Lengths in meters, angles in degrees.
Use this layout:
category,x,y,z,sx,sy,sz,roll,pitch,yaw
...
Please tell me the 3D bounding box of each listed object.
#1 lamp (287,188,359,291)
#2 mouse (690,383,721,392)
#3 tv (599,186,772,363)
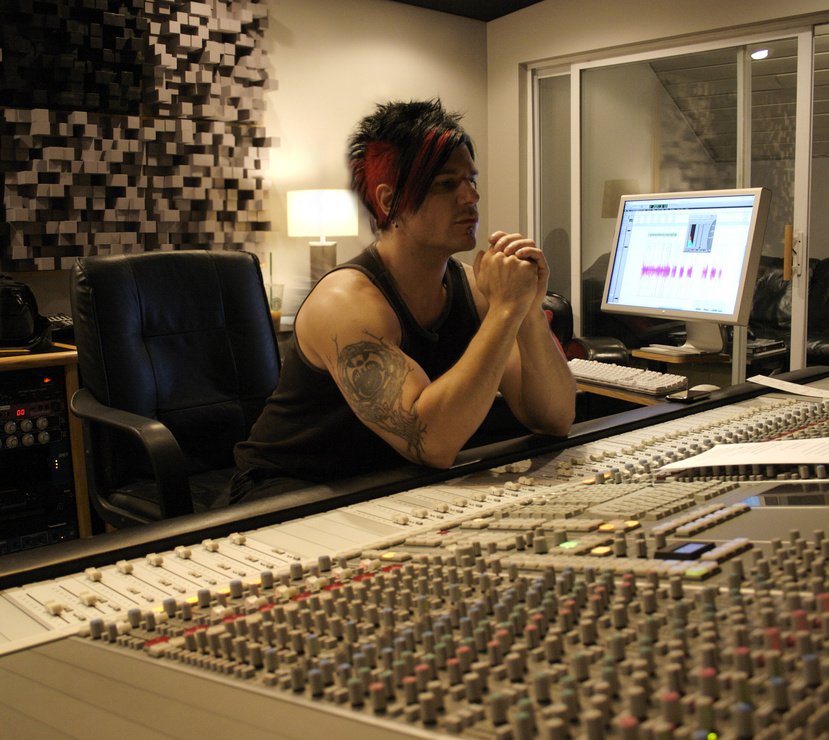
category,x,y,z,sx,sy,sz,roll,pitch,yaw
lamp,-0.475,-0.673,4.342,0.324,0.295,0.367,-20,6,-6
mouse,0.771,0.045,2.008,0.073,0.017,0.054,-7,11,-43
tv,0.712,-0.317,2.072,0.121,0.357,0.503,-7,9,-29
